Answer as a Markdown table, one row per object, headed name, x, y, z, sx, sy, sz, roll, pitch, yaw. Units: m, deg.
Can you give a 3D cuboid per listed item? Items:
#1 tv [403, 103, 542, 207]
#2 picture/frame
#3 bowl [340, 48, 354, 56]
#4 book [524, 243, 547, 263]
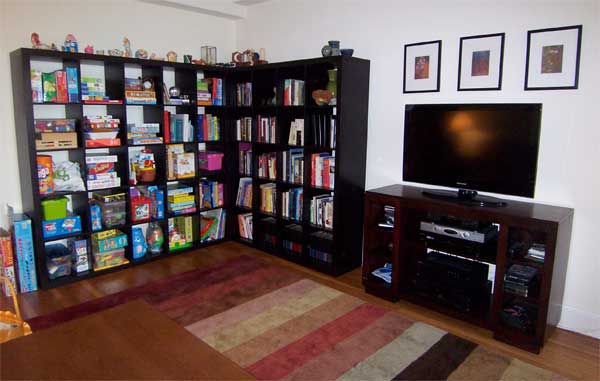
| name | x | y | z | sx | sy | sz | roll | pitch | yaw |
| --- | --- | --- | --- | --- | --- | --- | --- | --- | --- |
| tv | 1.650 | -0.421 | 4.136 | 0.353 | 0.925 | 1.367 | -11 | 15 | -44 |
| picture/frame | 1.848 | -1.263 | 4.111 | 1.556 | 0.578 | 0.171 | 6 | 19 | 26 |
| bowl | 0.520 | -1.526 | 4.641 | 0.156 | 0.074 | 0.155 | 0 | 6 | 0 |
| book | 2.075 | 0.534 | 3.675 | 0.141 | 0.115 | 0.141 | 11 | 21 | 38 |
